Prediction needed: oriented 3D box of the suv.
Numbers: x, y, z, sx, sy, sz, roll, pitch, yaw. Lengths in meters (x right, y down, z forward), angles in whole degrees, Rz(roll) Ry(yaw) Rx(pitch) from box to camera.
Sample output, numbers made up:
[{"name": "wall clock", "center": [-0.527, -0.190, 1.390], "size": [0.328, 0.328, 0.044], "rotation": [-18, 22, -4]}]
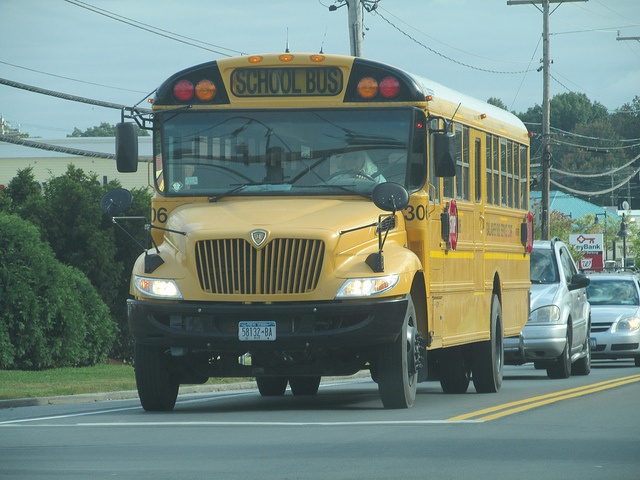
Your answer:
[{"name": "suv", "center": [4.502, 1.381, 20.385], "size": [1.573, 1.598, 3.122], "rotation": [-3, -6, 18]}]

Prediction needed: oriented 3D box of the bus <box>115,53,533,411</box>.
[{"name": "bus", "center": [0.551, -0.160, 15.008], "size": [3.198, 3.006, 6.495], "rotation": [-2, -5, 12]}]
